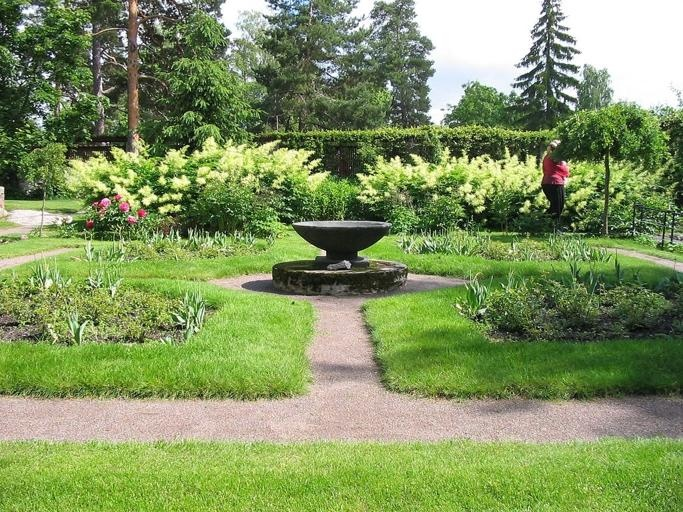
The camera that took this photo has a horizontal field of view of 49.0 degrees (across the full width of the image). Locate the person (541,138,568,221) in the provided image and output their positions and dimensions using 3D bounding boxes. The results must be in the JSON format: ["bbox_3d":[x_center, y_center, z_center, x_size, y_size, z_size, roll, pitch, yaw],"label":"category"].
[{"bbox_3d":[5.289,-1.880,18.745,0.621,1.996,1.176,3,4,31],"label":"person"}]
